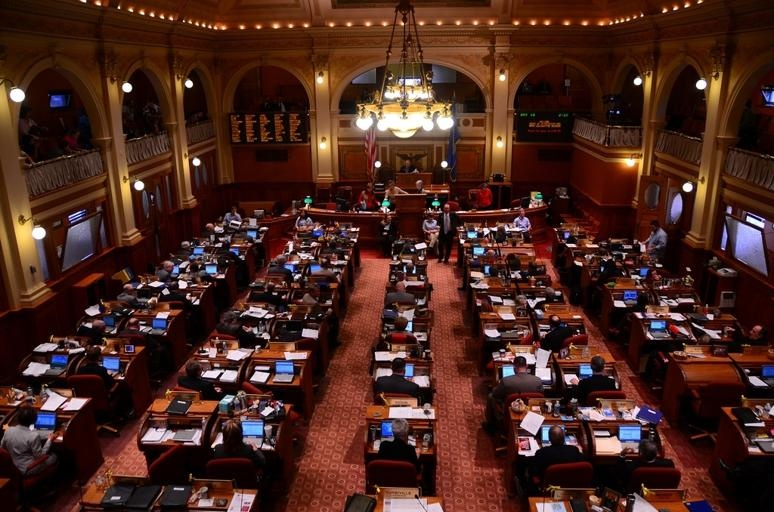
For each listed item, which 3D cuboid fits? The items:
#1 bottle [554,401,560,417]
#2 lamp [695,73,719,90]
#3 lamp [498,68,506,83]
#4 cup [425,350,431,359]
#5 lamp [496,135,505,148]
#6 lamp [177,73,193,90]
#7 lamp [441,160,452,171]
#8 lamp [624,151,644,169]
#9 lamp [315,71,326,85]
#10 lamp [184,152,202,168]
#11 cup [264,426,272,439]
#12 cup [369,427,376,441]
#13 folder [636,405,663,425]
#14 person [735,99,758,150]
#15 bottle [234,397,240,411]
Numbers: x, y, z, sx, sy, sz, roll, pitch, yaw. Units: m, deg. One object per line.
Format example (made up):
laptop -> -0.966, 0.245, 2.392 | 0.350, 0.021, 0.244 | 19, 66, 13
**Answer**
bottle -> 3.573, 3.239, 11.142 | 0.123, 0.308, 0.127 | -2, 35, 1
lamp -> 10.439, -5.720, 17.318 | 0.509, 0.543, 0.886 | 3, 19, 13
lamp -> 5.357, -8.394, 24.487 | 0.406, 0.607, 0.402 | 0, 8, 0
cup -> 0.992, 2.391, 12.759 | 0.160, 0.232, 0.165 | 3, 10, 0
lamp -> 5.418, -5.491, 25.449 | 0.305, 0.520, 0.510 | 2, 15, 5
lamp -> -8.846, -7.656, 23.336 | 0.601, 0.644, 5.059 | -7, 19, -17
lamp -> 2.943, -4.454, 25.886 | 0.560, 0.328, 0.813 | 0, 1, 5
lamp -> 10.069, -3.952, 21.624 | 0.594, 1.156, 0.535 | 5, 15, 21
lamp -> -3.071, -8.343, 24.779 | 0.427, 0.898, 0.483 | 0, 59, -7
lamp -> -8.299, -4.109, 22.585 | 0.422, 0.811, 0.330 | -25, 62, 4
cup -> -2.405, 3.582, 10.791 | 0.191, 0.236, 0.206 | 7, 12, -1
cup -> -0.291, 3.618, 10.816 | 0.179, 0.298, 0.183 | 1, 20, 0
folder -> 5.482, 3.341, 11.108 | 0.438, 0.144, 0.536 | 7, 20, 23
person -> 12.204, -4.340, 17.779 | 0.594, 1.626, 3.193 | 11, 22, 33
bottle -> -3.160, 3.151, 11.179 | 0.137, 0.247, 0.058 | -1, 0, -1
